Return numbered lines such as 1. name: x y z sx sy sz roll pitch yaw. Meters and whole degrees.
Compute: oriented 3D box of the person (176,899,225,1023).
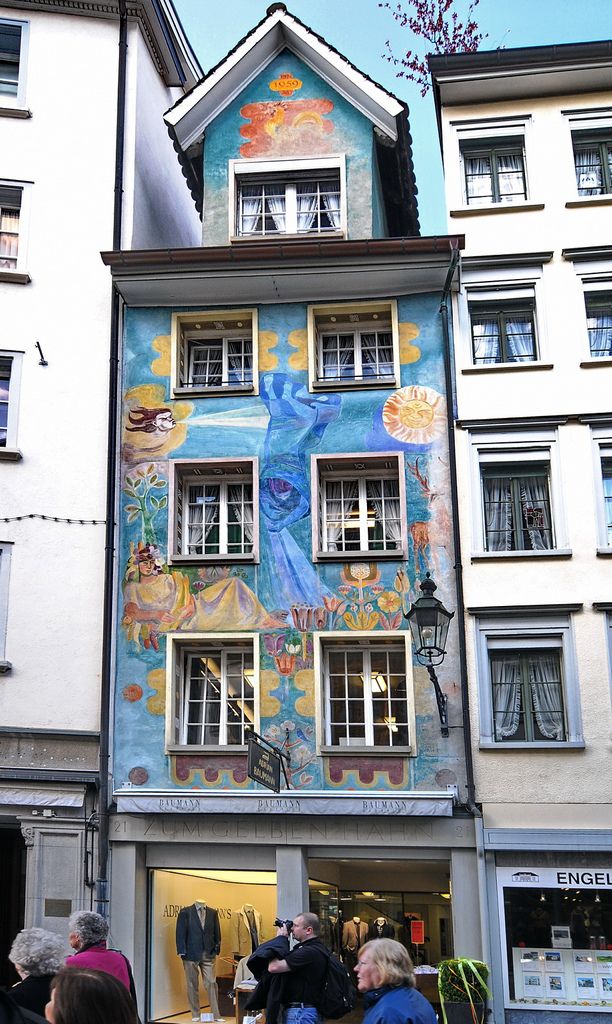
1. person: -1.493 6.229 16.853 0.656 1.572 0.438 3 -16 -17
